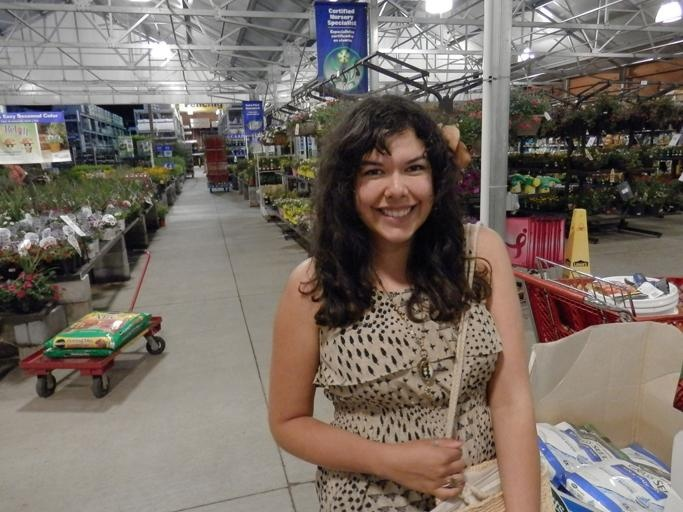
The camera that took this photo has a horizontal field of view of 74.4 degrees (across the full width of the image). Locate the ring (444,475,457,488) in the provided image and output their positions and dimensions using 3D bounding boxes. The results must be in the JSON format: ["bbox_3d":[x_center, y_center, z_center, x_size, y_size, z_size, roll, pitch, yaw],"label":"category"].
[{"bbox_3d":[0.316,0.643,1.294,0.039,0.018,0.024,-25,40,-5],"label":"ring"}]

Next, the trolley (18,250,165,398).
[{"bbox_3d":[-2.104,0.665,4.086,0.710,0.720,1.384,1,11,7],"label":"trolley"}]

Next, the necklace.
[{"bbox_3d":[0.188,0.197,1.431,0.093,0.411,0.022,-31,-24,16],"label":"necklace"}]
